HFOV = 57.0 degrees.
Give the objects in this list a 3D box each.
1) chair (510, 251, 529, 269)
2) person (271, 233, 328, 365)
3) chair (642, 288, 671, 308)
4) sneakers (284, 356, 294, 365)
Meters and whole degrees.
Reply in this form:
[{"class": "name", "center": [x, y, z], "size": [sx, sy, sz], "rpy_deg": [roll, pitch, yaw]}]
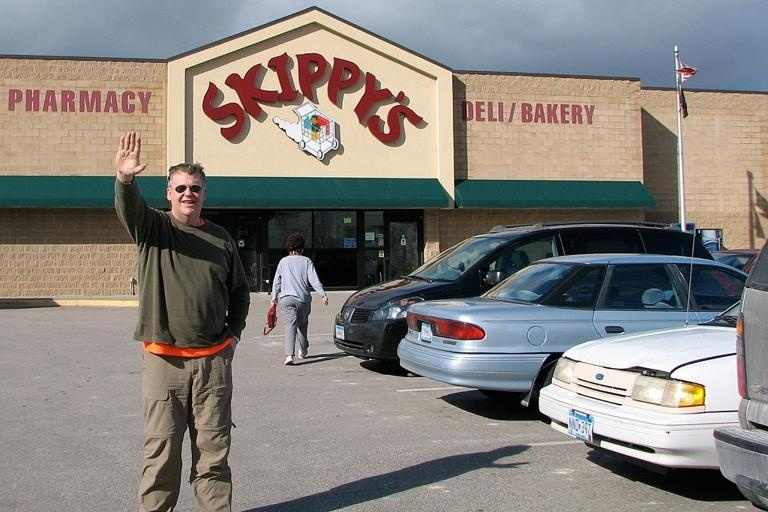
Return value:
[{"class": "chair", "center": [2.181, 0.053, 11.394], "size": [0.245, 0.357, 0.306], "rpy_deg": [3, -8, 24]}, {"class": "person", "center": [-1.529, 0.746, 12.601], "size": [0.877, 2.273, 1.541], "rpy_deg": [0, 4, -7]}, {"class": "chair", "center": [3.489, 0.550, 9.158], "size": [0.354, 0.231, 0.113], "rpy_deg": [7, -9, -15]}, {"class": "sneakers", "center": [-1.660, 1.781, 12.253], "size": [0.157, 0.182, 0.367], "rpy_deg": [0, 4, -7]}]
